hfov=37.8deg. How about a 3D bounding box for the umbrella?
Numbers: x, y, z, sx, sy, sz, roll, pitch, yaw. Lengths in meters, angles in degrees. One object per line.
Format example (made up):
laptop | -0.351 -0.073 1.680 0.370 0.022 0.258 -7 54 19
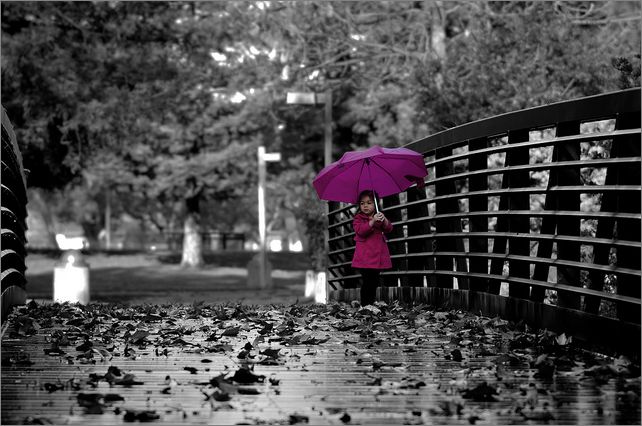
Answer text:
umbrella | 0.718 -0.560 13.504 1.143 0.684 1.171 0 -34 -3

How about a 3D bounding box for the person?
person | 0.722 0.521 13.347 0.573 1.679 0.521 0 7 11
